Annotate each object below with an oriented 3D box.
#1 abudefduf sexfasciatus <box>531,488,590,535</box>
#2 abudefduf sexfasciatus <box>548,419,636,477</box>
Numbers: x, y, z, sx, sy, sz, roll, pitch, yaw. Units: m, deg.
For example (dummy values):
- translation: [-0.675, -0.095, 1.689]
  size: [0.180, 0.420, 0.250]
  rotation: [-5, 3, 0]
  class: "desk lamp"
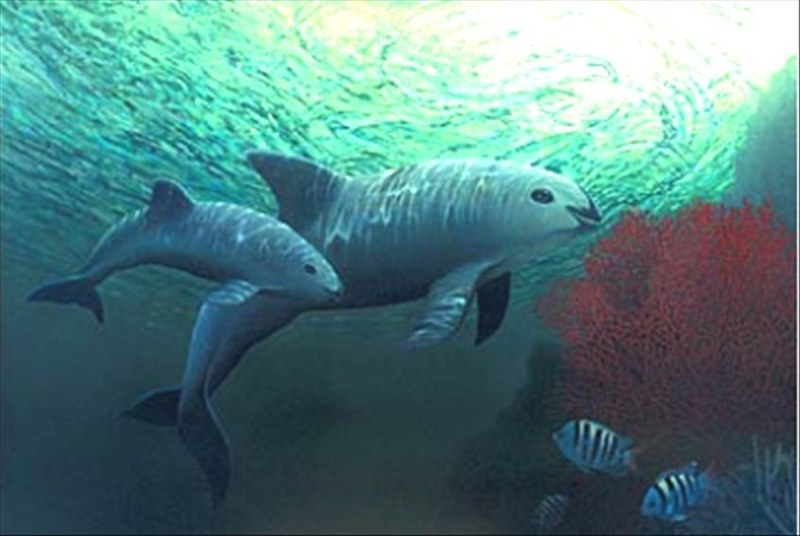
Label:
- translation: [0.758, 1.209, 3.873]
  size: [0.180, 0.254, 0.068]
  rotation: [15, 19, -11]
  class: "abudefduf sexfasciatus"
- translation: [0.970, 0.900, 3.902]
  size: [0.419, 0.219, 0.122]
  rotation: [21, 19, 10]
  class: "abudefduf sexfasciatus"
